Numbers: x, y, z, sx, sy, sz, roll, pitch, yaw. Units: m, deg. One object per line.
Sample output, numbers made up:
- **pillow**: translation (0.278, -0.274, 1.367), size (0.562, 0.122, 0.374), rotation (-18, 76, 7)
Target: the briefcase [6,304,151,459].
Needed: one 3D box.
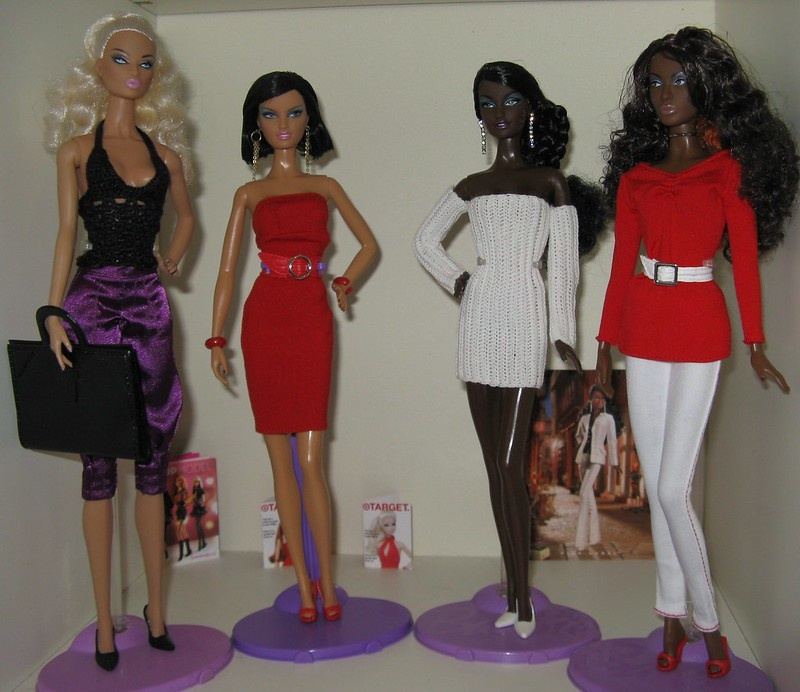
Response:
- **briefcase**: translation (-1.218, 0.137, 3.025), size (0.509, 0.584, 0.131), rotation (0, 7, 15)

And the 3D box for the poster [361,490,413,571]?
- **poster**: translation (-0.057, 0.984, 4.246), size (0.356, 0.524, 0.062), rotation (0, 3, 3)

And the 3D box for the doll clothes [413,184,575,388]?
- **doll clothes**: translation (0.404, -0.228, 3.464), size (0.673, 0.991, 0.245), rotation (2, -26, 8)
